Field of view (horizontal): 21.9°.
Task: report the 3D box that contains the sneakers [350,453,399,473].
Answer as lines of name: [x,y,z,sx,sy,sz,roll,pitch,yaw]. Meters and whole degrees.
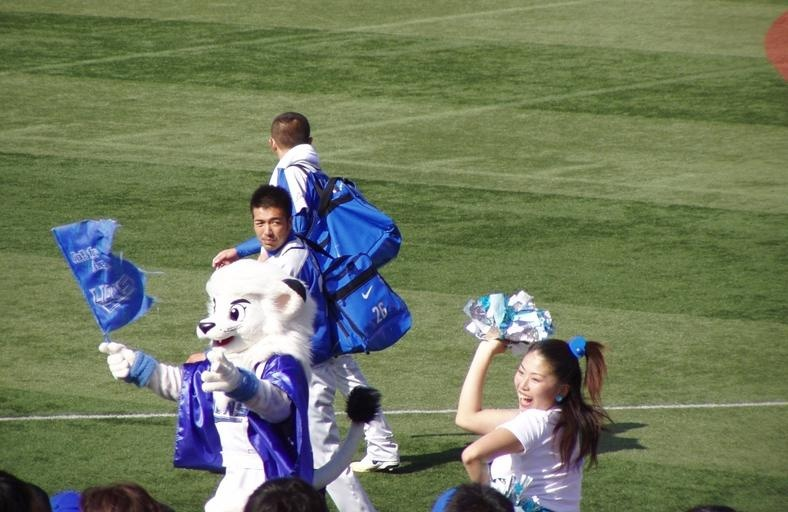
sneakers: [-0.209,2.149,20.986,0.541,0.211,0.174,2,29,3]

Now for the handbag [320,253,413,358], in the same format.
handbag: [-0.331,0.557,20.691,0.613,0.972,0.825,-13,19,50]
